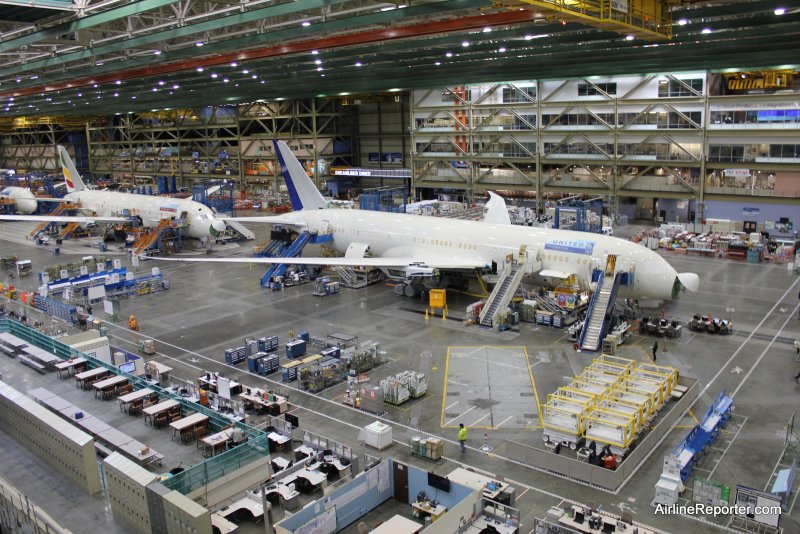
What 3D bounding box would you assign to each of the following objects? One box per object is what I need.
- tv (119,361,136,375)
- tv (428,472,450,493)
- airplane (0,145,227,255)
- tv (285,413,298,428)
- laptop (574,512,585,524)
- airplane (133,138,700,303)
[{"bbox_3d":[-20.060,7.413,44.760,0.173,0.653,1.182,8,10,36],"label":"tv"},{"bbox_3d":[2.107,11.739,33.206,1.411,0.627,0.190,9,16,32],"label":"tv"},{"bbox_3d":[-37.971,-8.290,92.623,29.246,7.959,21.841,12,22,31],"label":"airplane"},{"bbox_3d":[-7.136,10.060,39.991,0.891,0.462,0.460,10,20,29],"label":"tv"},{"bbox_3d":[9.292,12.898,31.389,0.643,0.414,0.526,7,7,8],"label":"laptop"},{"bbox_3d":[7.504,-3.264,63.376,33.958,7.438,29.154,8,15,32],"label":"airplane"}]
